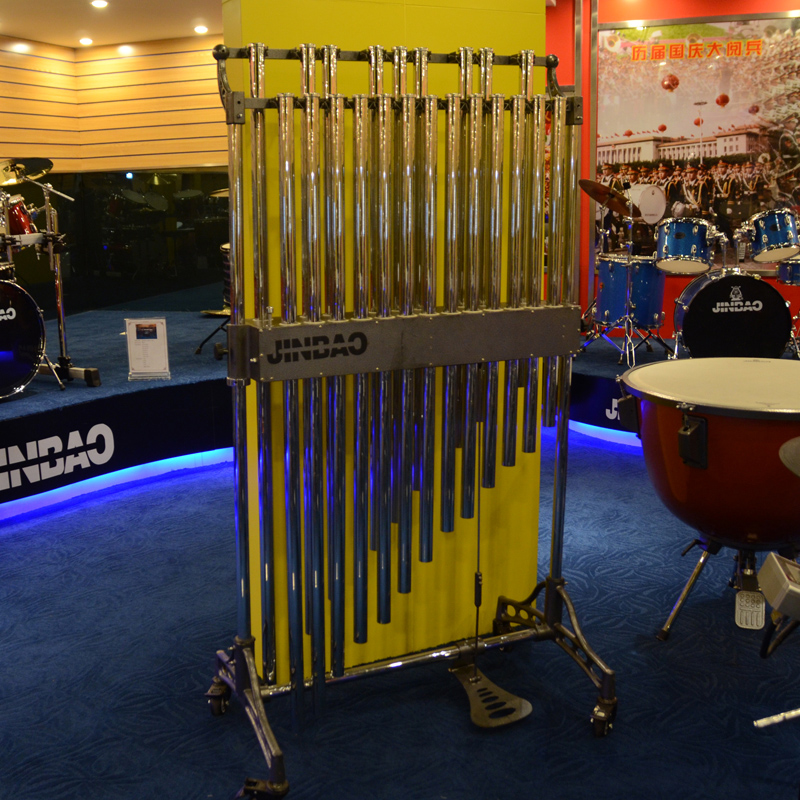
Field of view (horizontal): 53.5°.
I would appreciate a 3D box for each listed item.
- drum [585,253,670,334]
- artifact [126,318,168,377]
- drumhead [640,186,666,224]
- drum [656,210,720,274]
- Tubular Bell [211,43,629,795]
[{"bbox_3d":[1.451,-0.736,5.372,0.541,0.476,0.517,-3,13,-15],"label":"drum"},{"bbox_3d":[-1.367,-0.277,4.275,0.210,0.310,0.335,-5,12,-18],"label":"artifact"},{"bbox_3d":[1.921,-1.514,6.104,0.284,0.263,0.067,5,16,32],"label":"drumhead"},{"bbox_3d":[1.743,-0.965,4.836,0.358,0.241,0.350,0,5,0],"label":"drum"},{"bbox_3d":[0.028,-0.009,1.856,0.988,1.615,0.479,-5,12,-22],"label":"Tubular Bell"}]
